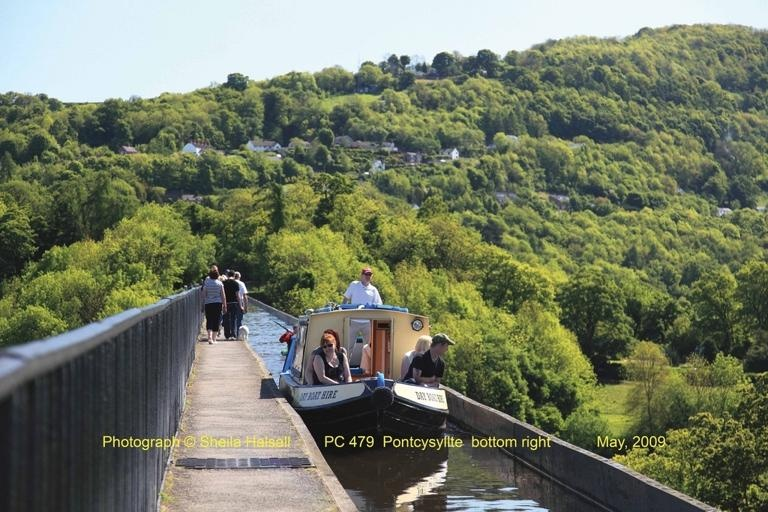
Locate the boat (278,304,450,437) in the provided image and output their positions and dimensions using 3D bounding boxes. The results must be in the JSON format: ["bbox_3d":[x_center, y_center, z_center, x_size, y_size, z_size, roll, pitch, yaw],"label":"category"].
[{"bbox_3d":[-6.015,19.910,219.626,15.619,15.409,30.491,1,-5,-9],"label":"boat"}]
